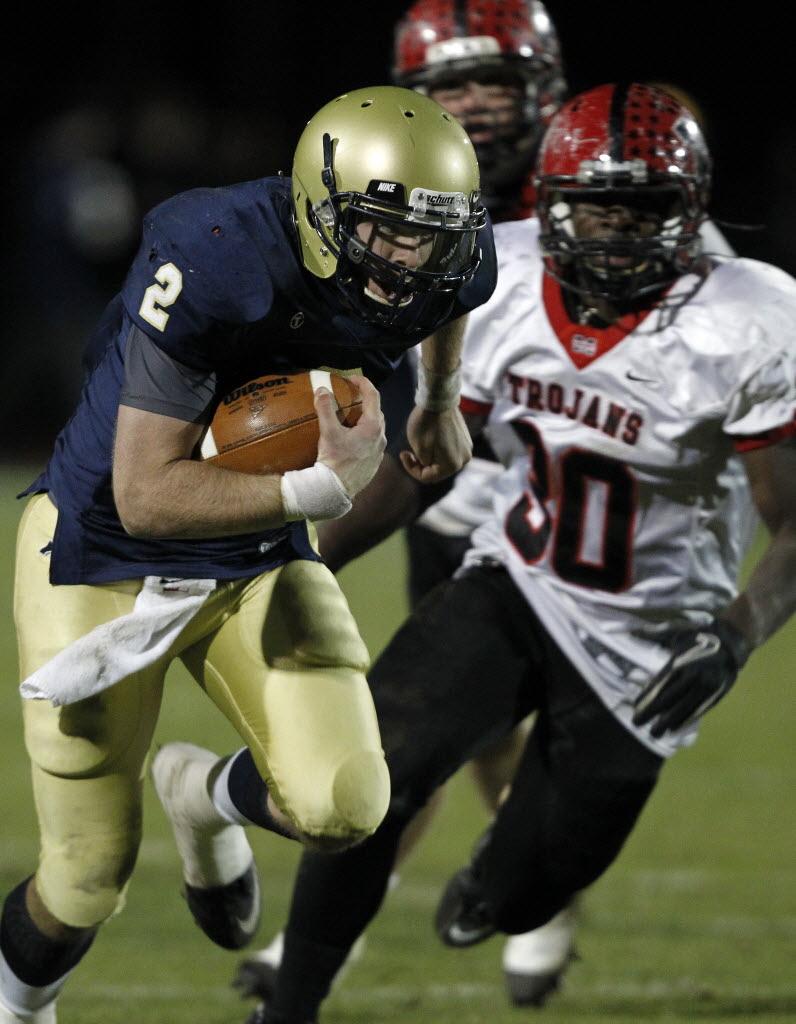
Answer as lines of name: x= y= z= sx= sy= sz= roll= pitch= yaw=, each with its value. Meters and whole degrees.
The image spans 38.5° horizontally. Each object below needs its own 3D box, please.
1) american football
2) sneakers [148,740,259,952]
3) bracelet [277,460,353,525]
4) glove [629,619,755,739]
american football: x=-0.179 y=-0.143 z=1.587 sx=0.333 sy=0.116 sz=0.261 roll=-7 pitch=16 yaw=-27
sneakers: x=-0.294 y=0.554 z=1.878 sx=0.169 sy=0.316 sz=0.188 roll=-19 pitch=17 yaw=0
bracelet: x=-0.111 y=-0.022 z=1.488 sx=0.085 sy=0.072 sz=0.072 roll=16 pitch=22 yaw=41
glove: x=0.447 y=0.276 z=1.733 sx=0.165 sy=0.214 sz=0.111 roll=2 pitch=29 yaw=7
